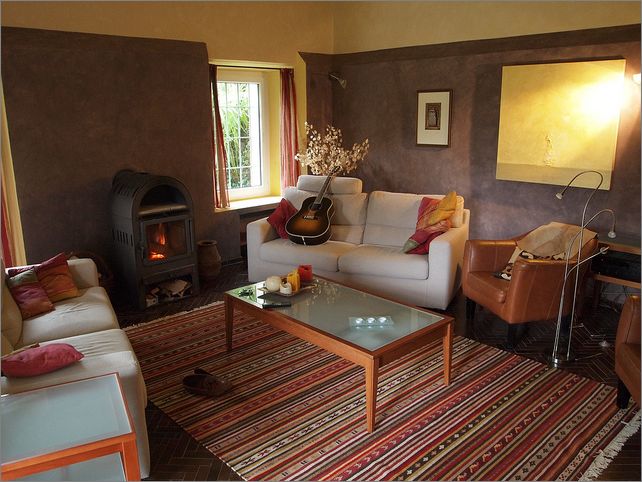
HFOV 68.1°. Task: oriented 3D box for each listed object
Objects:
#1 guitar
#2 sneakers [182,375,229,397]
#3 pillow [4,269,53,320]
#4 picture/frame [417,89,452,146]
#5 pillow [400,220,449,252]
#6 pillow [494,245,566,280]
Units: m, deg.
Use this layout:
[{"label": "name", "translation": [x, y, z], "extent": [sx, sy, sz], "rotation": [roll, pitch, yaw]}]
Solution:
[{"label": "guitar", "translation": [-0.061, -0.444, 5.539], "extent": [0.476, 1.136, 0.143], "rotation": [9, 48, -25]}, {"label": "sneakers", "translation": [-0.929, 1.149, 3.795], "extent": [0.317, 0.117, 0.167], "rotation": [5, 21, 14]}, {"label": "pillow", "translation": [-2.403, 0.431, 3.979], "extent": [0.313, 0.162, 0.552], "rotation": [-17, 62, -36]}, {"label": "picture/frame", "translation": [1.478, -1.628, 6.354], "extent": [0.535, 0.740, 0.019], "rotation": [-4, 10, -18]}, {"label": "pillow", "translation": [1.121, -0.032, 5.093], "extent": [0.471, 0.351, 0.253], "rotation": [3, 19, 15]}, {"label": "pillow", "translation": [1.906, 0.219, 4.599], "extent": [0.380, 0.117, 0.372], "rotation": [-25, 16, -29]}]
